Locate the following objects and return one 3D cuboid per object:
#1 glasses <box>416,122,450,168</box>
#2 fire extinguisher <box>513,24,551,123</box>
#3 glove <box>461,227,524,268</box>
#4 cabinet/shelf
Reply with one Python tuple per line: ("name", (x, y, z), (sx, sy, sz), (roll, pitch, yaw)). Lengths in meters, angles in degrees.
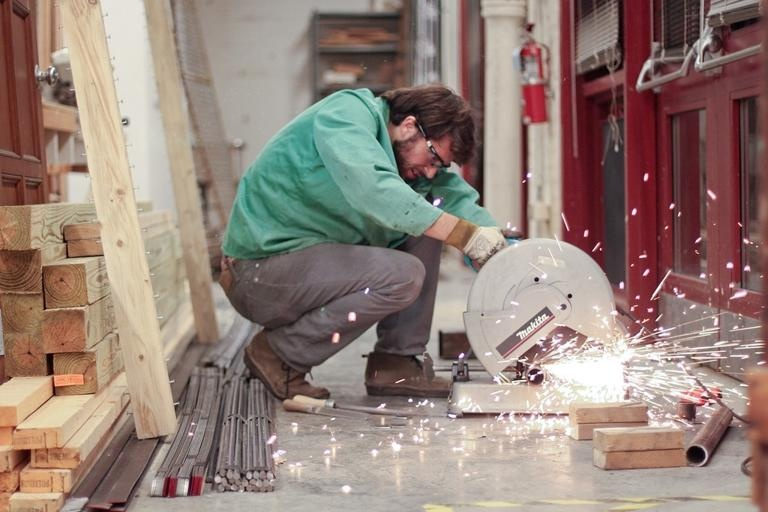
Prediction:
("glasses", (0.205, -0.544, 3.353), (0.054, 0.197, 0.182), (-24, -34, 15))
("fire extinguisher", (1.128, -1.380, 5.380), (0.259, 0.744, 0.254), (2, 12, 15))
("glove", (0.513, -0.062, 3.274), (0.262, 0.109, 0.197), (-34, -12, 2))
("cabinet/shelf", (-0.331, -2.449, 9.069), (1.124, 2.156, 0.741), (1, -36, -6))
